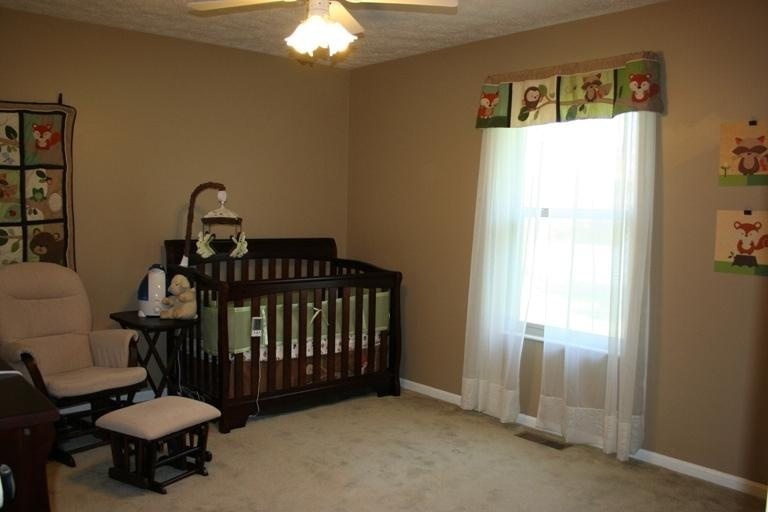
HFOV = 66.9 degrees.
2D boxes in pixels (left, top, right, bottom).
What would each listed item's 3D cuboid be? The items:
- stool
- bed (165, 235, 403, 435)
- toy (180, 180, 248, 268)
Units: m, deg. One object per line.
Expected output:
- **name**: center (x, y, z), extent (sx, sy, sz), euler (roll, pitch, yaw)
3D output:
- **stool**: center (-1.502, 1.188, 3.930), extent (0.596, 0.539, 0.740), euler (1, 2, 31)
- **bed**: center (-0.801, 0.544, 5.258), extent (1.984, 1.373, 1.177), euler (-6, 15, -31)
- **toy**: center (-1.652, -0.313, 5.349), extent (0.731, 0.901, 0.588), euler (-1, 4, -3)
